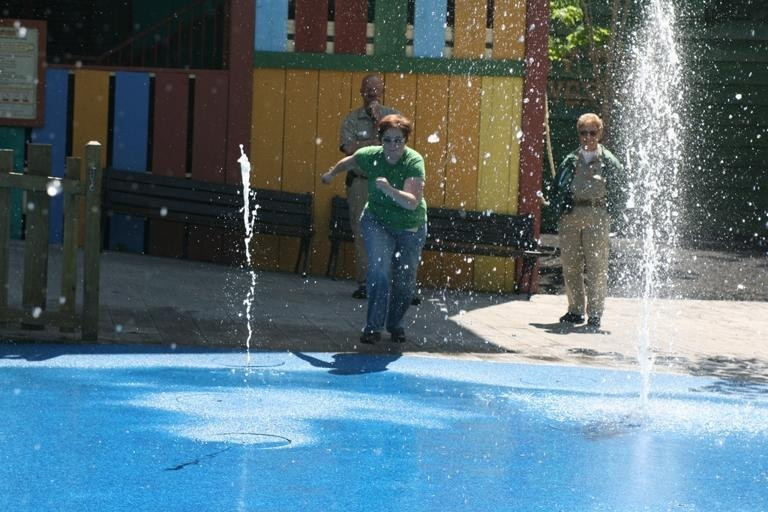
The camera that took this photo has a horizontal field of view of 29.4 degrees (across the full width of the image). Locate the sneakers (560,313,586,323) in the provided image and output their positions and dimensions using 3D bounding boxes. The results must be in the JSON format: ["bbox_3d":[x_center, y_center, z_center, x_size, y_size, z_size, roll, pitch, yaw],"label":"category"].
[{"bbox_3d":[2.484,0.844,19.551,0.240,0.129,0.145,-2,4,-15],"label":"sneakers"}]

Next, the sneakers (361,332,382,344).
[{"bbox_3d":[-0.170,0.984,17.696,0.210,0.164,0.131,13,7,12],"label":"sneakers"}]

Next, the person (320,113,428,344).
[{"bbox_3d":[0.018,-0.299,17.538,0.936,2.770,0.866,3,2,-1],"label":"person"}]

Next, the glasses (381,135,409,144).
[{"bbox_3d":[0.100,-1.374,17.376,0.301,0.103,0.163,4,2,-3],"label":"glasses"}]

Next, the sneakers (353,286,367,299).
[{"bbox_3d":[-0.329,0.470,20.102,0.168,0.184,0.301,5,6,18],"label":"sneakers"}]

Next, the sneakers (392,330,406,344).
[{"bbox_3d":[0.158,0.989,17.839,0.100,0.125,0.180,2,9,4],"label":"sneakers"}]

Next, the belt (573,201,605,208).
[{"bbox_3d":[2.694,-0.699,19.415,0.376,0.102,0.053,4,2,5],"label":"belt"}]

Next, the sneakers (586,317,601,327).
[{"bbox_3d":[2.754,0.875,19.349,0.183,0.088,0.146,4,2,0],"label":"sneakers"}]
